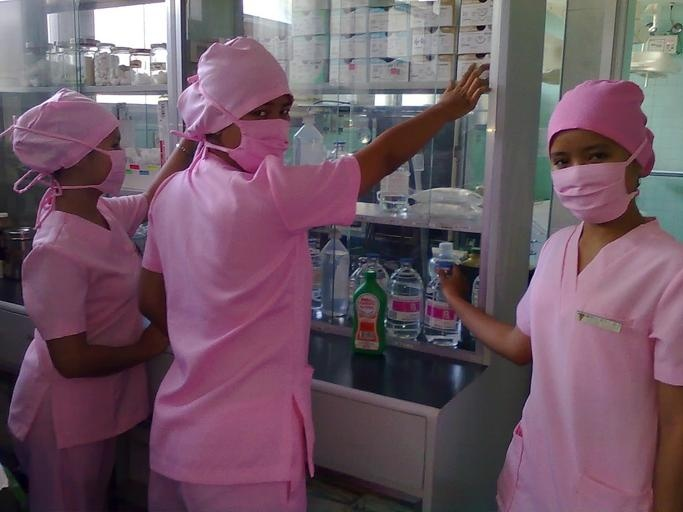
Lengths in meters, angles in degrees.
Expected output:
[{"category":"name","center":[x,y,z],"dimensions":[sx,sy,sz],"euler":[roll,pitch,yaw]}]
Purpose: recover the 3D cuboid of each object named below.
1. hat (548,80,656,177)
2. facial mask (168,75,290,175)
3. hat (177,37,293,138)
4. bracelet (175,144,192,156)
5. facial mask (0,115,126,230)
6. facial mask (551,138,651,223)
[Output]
[{"category":"hat","center":[0.682,-0.361,1.492],"dimensions":[0.257,0.190,0.119],"euler":[4,11,20]},{"category":"facial mask","center":[-0.295,-0.340,1.517],"dimensions":[0.271,0.170,0.233],"euler":[4,14,-1]},{"category":"hat","center":[-0.316,-0.467,1.596],"dimensions":[0.328,0.280,0.249],"euler":[-7,22,6]},{"category":"bracelet","center":[-0.571,-0.382,2.050],"dimensions":[0.046,0.051,0.047],"euler":[1,1,-6]},{"category":"facial mask","center":[-0.875,-0.303,1.935],"dimensions":[0.395,0.240,0.319],"euler":[-22,35,-27]},{"category":"facial mask","center":[0.713,-0.204,1.603],"dimensions":[0.289,0.153,0.253],"euler":[-24,12,-26]}]
